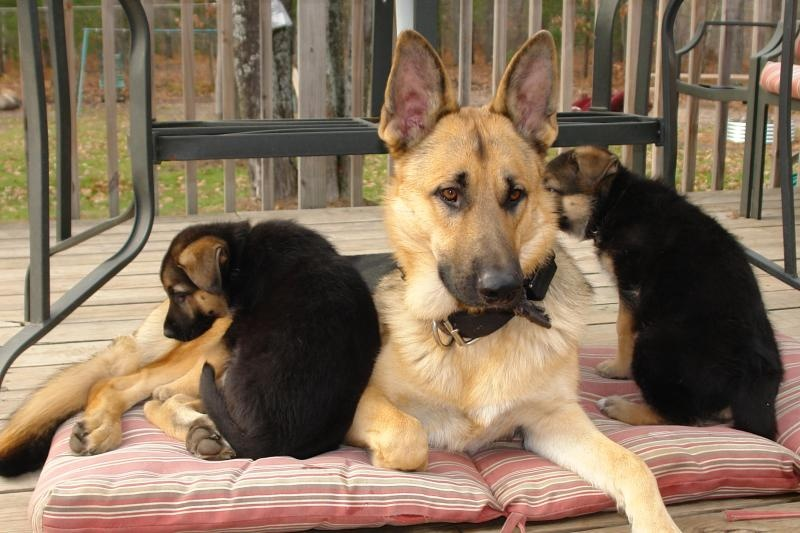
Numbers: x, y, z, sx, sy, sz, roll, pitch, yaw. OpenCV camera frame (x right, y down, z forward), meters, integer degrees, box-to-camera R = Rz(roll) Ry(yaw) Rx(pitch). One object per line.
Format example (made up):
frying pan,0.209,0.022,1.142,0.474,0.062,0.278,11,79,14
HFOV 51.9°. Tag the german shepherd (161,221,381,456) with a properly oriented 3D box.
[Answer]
german shepherd,-0.765,0.243,4.543,0.954,0.840,1.440,0,33,-45

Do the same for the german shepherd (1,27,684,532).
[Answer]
german shepherd,-0.607,-0.048,4.669,2.289,2.057,3.419,-10,13,-40
